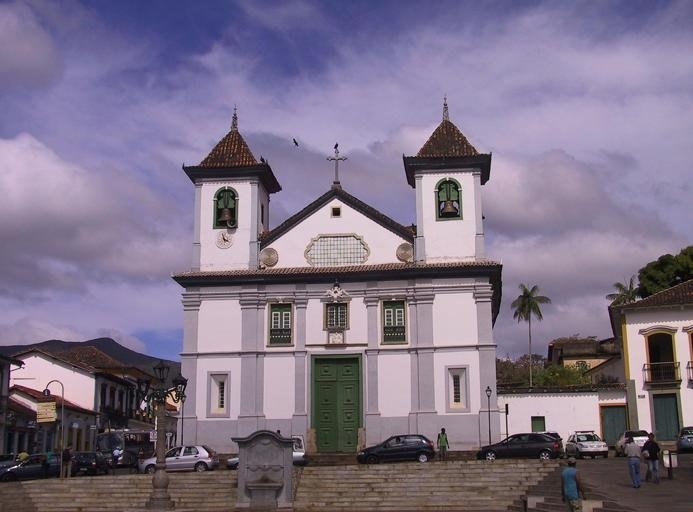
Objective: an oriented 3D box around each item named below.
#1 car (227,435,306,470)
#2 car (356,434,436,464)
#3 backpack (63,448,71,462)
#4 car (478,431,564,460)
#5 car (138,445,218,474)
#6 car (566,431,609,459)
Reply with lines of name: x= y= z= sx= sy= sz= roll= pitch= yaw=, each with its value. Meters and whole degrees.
car: x=-3.827 y=9.505 z=41.502 sx=3.971 sy=1.567 sz=7.735 roll=0 pitch=-14 yaw=-7
car: x=2.662 y=9.865 z=42.908 sx=3.364 sy=1.474 sz=2.706 roll=-7 pitch=-13 yaw=20
backpack: x=-14.988 y=10.699 z=45.510 sx=0.361 sy=0.641 sz=0.688 roll=2 pitch=-15 yaw=-14
car: x=9.013 y=9.734 z=43.335 sx=3.904 sy=1.264 sz=1.297 roll=-6 pitch=-15 yaw=15
car: x=-8.933 y=10.440 z=44.417 sx=4.335 sy=1.646 sz=2.022 roll=2 pitch=-16 yaw=6
car: x=13.159 y=10.368 z=46.597 sx=2.158 sy=1.418 sz=2.034 roll=-5 pitch=-14 yaw=10
